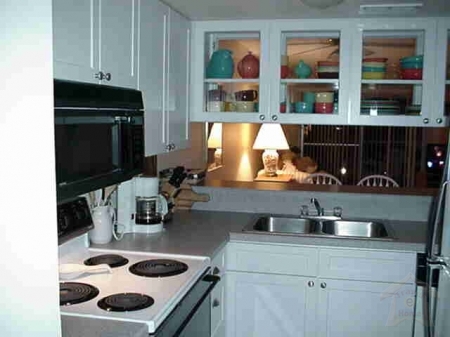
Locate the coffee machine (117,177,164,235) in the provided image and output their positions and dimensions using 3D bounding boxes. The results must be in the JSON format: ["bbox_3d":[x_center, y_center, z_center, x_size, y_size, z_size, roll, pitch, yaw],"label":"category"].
[{"bbox_3d":[-0.547,0.210,2.314,0.330,0.390,0.283,-3,11,-11],"label":"coffee machine"}]

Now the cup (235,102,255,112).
[{"bbox_3d":[0.140,-0.421,2.476,0.085,0.050,0.084,0,7,0],"label":"cup"}]

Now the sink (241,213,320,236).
[{"bbox_3d":[0.369,0.398,2.562,0.540,0.118,0.238,-2,8,-21],"label":"sink"}]

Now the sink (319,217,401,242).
[{"bbox_3d":[0.896,0.414,2.467,0.264,0.099,0.210,2,6,9],"label":"sink"}]

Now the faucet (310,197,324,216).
[{"bbox_3d":[0.650,0.258,2.528,0.090,0.142,0.245,3,7,15],"label":"faucet"}]

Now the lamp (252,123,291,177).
[{"bbox_3d":[0.584,-0.216,4.544,0.402,0.705,1.642,2,7,9],"label":"lamp"}]

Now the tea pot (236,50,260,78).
[{"bbox_3d":[0.169,-0.703,2.462,0.168,0.188,0.168,6,11,-1],"label":"tea pot"}]

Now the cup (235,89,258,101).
[{"bbox_3d":[0.156,-0.500,2.464,0.112,0.073,0.075,3,11,17],"label":"cup"}]

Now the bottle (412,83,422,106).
[{"bbox_3d":[1.218,-0.471,2.290,0.054,0.132,0.015,4,7,21],"label":"bottle"}]

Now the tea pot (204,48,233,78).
[{"bbox_3d":[-0.030,-0.715,2.486,0.213,0.205,0.152,6,17,16],"label":"tea pot"}]

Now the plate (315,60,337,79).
[{"bbox_3d":[0.680,-0.650,2.431,0.185,0.117,0.105,1,14,6],"label":"plate"}]

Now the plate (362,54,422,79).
[{"bbox_3d":[1.070,-0.649,2.318,0.360,0.146,0.028,2,7,11],"label":"plate"}]

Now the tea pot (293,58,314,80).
[{"bbox_3d":[0.523,-0.655,2.401,0.109,0.135,0.127,12,21,41],"label":"tea pot"}]

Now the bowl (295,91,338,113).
[{"bbox_3d":[0.604,-0.440,2.387,0.222,0.102,0.129,1,7,18],"label":"bowl"}]
